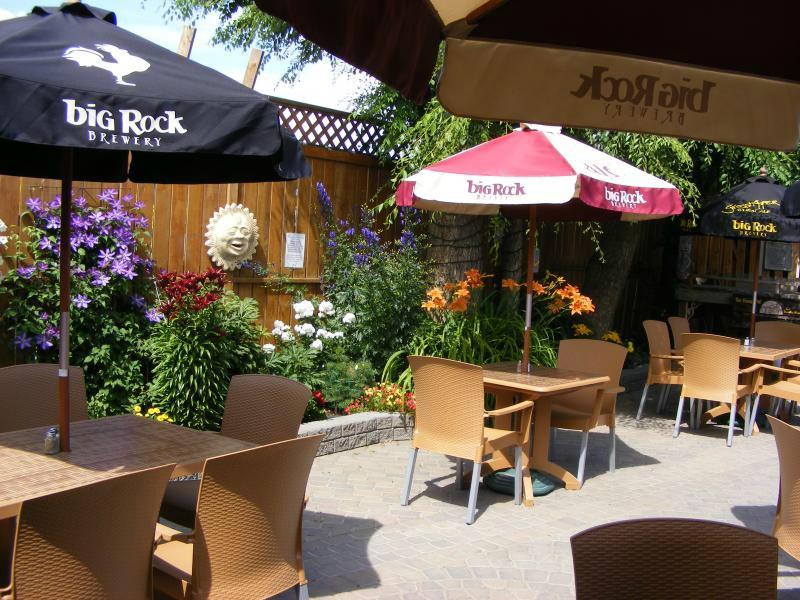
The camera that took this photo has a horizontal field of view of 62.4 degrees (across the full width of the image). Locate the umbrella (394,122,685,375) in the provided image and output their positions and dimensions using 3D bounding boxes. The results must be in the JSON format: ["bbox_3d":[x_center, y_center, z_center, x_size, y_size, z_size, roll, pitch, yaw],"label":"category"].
[{"bbox_3d":[1.283,-0.415,6.550,2.673,2.612,2.804,4,7,13],"label":"umbrella"}]
